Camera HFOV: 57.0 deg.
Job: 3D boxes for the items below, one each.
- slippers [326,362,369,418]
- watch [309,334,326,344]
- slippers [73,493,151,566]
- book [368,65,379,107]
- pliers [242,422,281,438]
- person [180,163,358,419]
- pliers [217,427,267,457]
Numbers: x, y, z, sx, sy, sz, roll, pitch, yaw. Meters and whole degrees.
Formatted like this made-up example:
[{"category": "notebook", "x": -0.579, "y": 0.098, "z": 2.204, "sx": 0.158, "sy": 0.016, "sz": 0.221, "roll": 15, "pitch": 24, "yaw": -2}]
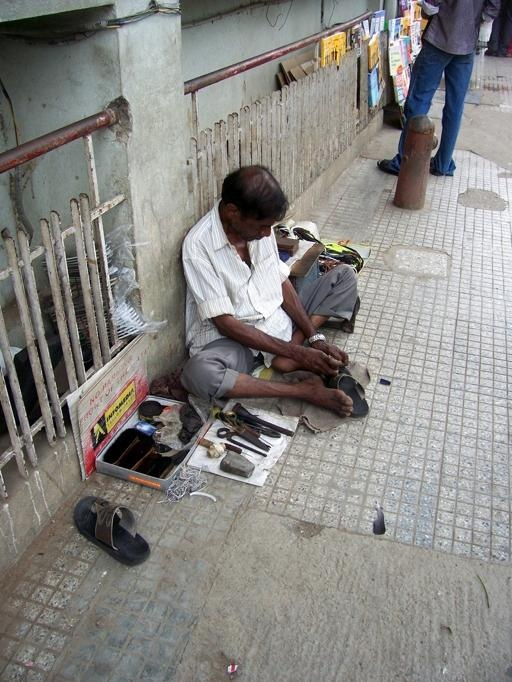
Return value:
[{"category": "slippers", "x": 0.492, "y": 0.245, "z": 2.674, "sx": 0.132, "sy": 0.132, "sz": 0.364, "roll": -27, "pitch": 54, "yaw": -9}, {"category": "watch", "x": 0.380, "y": -0.018, "z": 2.935, "sx": 0.093, "sy": 0.088, "sz": 0.062, "roll": 1, "pitch": 49, "yaw": -12}, {"category": "slippers", "x": -0.591, "y": 0.710, "z": 1.881, "sx": 0.360, "sy": 0.146, "sz": 0.184, "roll": 32, "pitch": 38, "yaw": 10}, {"category": "book", "x": 1.591, "y": -3.544, "z": 6.465, "sx": 0.069, "sy": 0.524, "sz": 0.468, "roll": 8, "pitch": 54, "yaw": 17}, {"category": "pliers", "x": 0.016, "y": 0.465, "z": 2.452, "sx": 0.155, "sy": 0.047, "sz": 0.033, "roll": 14, "pitch": 18, "yaw": 12}, {"category": "person", "x": 0.037, "y": -0.354, "z": 2.695, "sx": 0.982, "sy": 1.263, "sz": 1.033, "roll": 0, "pitch": 26, "yaw": 7}, {"category": "pliers", "x": -0.076, "y": 0.511, "z": 2.381, "sx": 0.292, "sy": 0.052, "sz": 0.090, "roll": 11, "pitch": 30, "yaw": 26}]
